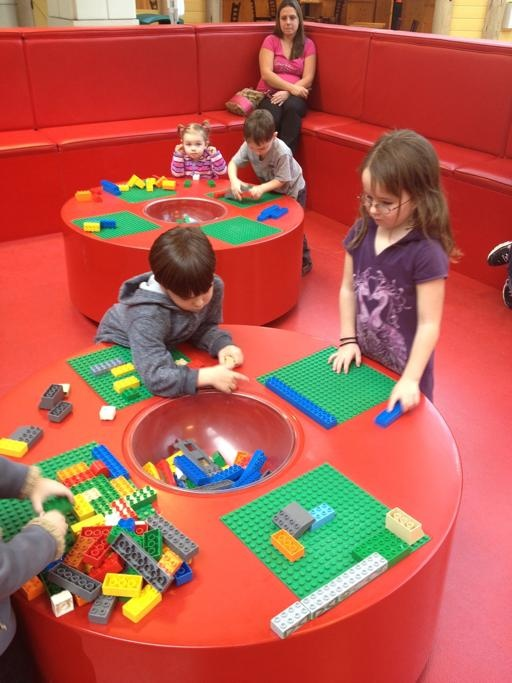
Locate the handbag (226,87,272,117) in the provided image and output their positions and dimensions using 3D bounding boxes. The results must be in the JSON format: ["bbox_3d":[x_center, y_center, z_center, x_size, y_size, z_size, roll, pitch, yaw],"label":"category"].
[{"bbox_3d":[-0.087,-1.992,4.124,0.266,0.088,0.265,-46,59,-7],"label":"handbag"}]
